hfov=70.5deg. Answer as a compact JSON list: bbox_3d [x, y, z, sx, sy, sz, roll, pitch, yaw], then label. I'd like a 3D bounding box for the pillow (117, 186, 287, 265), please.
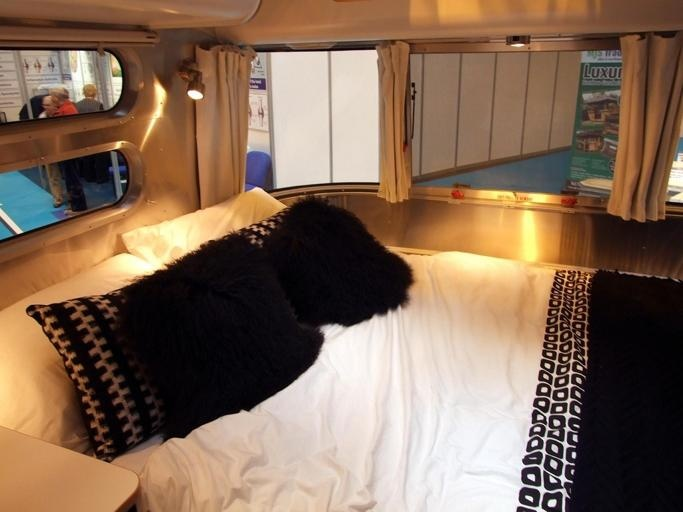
[{"bbox_3d":[-0.880,-0.181,2.958,0.447,0.129,0.703,37,43,27],"label":"pillow"}]

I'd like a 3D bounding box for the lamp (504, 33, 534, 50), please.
[{"bbox_3d":[1.116,-1.355,3.086,0.112,0.122,0.110,-18,24,-35],"label":"lamp"}]

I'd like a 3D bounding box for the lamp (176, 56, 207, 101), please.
[{"bbox_3d":[-0.916,-1.080,2.924,0.148,0.208,0.332,-6,23,-15],"label":"lamp"}]
